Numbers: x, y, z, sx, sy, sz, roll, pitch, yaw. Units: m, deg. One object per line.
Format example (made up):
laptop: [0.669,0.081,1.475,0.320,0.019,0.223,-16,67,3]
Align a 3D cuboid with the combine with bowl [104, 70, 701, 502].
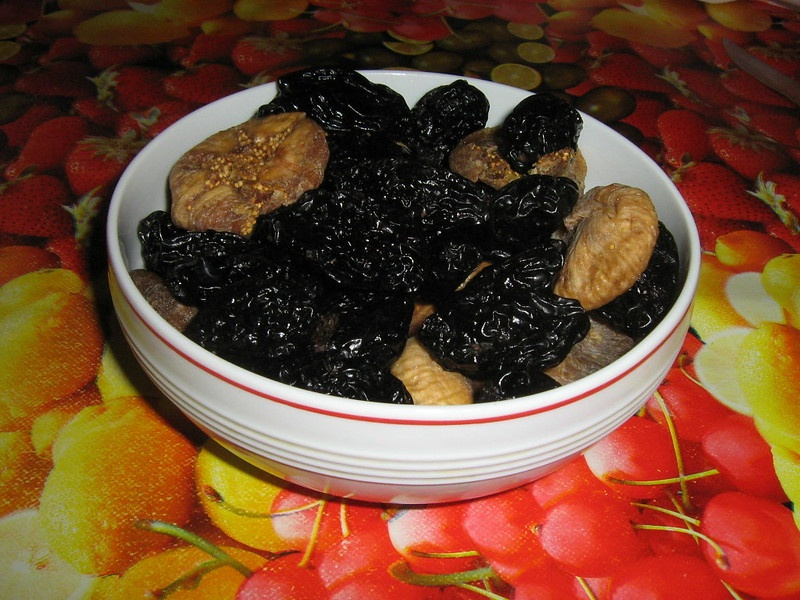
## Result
combine with bowl: [0.070,-0.026,1.710,1.301,0.389,0.947,-16,75,-8]
